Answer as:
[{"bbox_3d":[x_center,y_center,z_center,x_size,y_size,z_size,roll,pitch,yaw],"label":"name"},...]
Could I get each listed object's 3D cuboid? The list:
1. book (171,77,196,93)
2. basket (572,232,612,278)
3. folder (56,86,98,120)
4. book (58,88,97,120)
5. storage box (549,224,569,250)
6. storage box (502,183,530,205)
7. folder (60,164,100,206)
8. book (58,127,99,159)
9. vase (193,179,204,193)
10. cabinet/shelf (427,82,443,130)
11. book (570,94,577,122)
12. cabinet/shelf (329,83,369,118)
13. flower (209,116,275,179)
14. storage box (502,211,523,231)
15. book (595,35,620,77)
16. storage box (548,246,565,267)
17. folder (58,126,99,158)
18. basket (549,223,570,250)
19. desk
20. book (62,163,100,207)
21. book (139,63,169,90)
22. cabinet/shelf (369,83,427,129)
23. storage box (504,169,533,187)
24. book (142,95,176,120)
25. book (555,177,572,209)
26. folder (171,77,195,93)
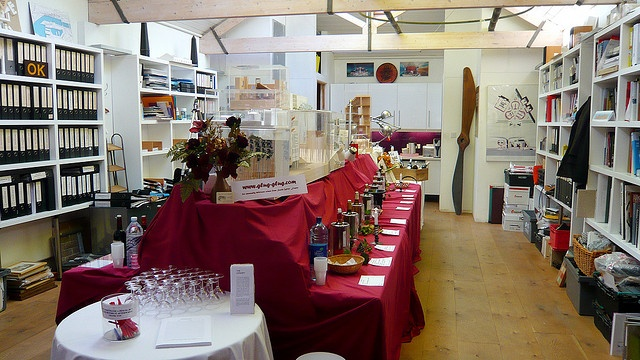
[{"bbox_3d":[-2.629,-1.806,7.690,0.352,0.114,0.342,1,5,21],"label":"book"},{"bbox_3d":[3.524,1.009,5.236,0.320,0.185,0.436,1,9,8],"label":"basket"},{"bbox_3d":[-3.659,-1.155,5.976,0.307,0.496,0.567,2,6,21],"label":"folder"},{"bbox_3d":[-3.655,-1.142,5.984,0.301,0.497,0.562,2,3,19],"label":"book"},{"bbox_3d":[3.760,0.900,6.251,0.277,0.239,0.403,1,4,17],"label":"storage box"},{"bbox_3d":[4.033,0.274,8.186,0.401,0.372,0.411,3,11,26],"label":"storage box"},{"bbox_3d":[-3.672,0.090,6.087,0.346,0.582,0.649,3,4,19],"label":"folder"},{"bbox_3d":[-3.673,-0.565,6.034,0.294,0.461,0.536,0,2,24],"label":"book"},{"bbox_3d":[-1.188,0.049,3.912,0.102,0.160,0.387,-4,8,-16],"label":"vase"},{"bbox_3d":[3.169,-2.035,11.057,0.352,1.255,0.185,-1,9,6],"label":"cabinet/shelf"},{"bbox_3d":[3.985,-1.157,6.279,0.074,0.439,0.483,4,10,31],"label":"book"},{"bbox_3d":[0.805,-2.435,11.689,1.198,0.780,0.241,2,10,25],"label":"cabinet/shelf"},{"bbox_3d":[-0.775,-0.319,4.019,0.651,0.571,0.628,0,7,21],"label":"flower"},{"bbox_3d":[3.898,0.841,8.064,0.390,0.262,0.379,2,8,19],"label":"storage box"},{"bbox_3d":[3.745,-1.615,5.203,0.162,0.476,0.370,-2,10,-8],"label":"book"},{"bbox_3d":[3.736,1.226,6.414,0.259,0.350,0.254,6,13,24],"label":"storage box"},{"bbox_3d":[-3.673,-0.577,6.042,0.301,0.464,0.547,0,2,20],"label":"folder"},{"bbox_3d":[3.808,0.908,6.423,0.279,0.242,0.407,0,-1,15],"label":"basket"},{"bbox_3d":[-1.581,0.712,4.215,1.491,0.788,1.454,0,14,24],"label":"desk"},{"bbox_3d":[-3.668,0.094,6.093,0.374,0.628,0.687,1,3,20],"label":"book"},{"bbox_3d":[-2.908,-1.791,7.107,0.486,0.362,0.248,-6,10,-30],"label":"book"},{"bbox_3d":[2.195,-2.050,10.923,2.034,1.524,0.748,0,3,12],"label":"cabinet/shelf"},{"bbox_3d":[4.026,-0.053,8.083,0.386,0.218,0.369,1,5,10],"label":"storage box"},{"bbox_3d":[-2.972,-1.372,7.295,0.494,0.442,0.108,0,-1,9],"label":"book"},{"bbox_3d":[3.805,0.186,6.225,0.285,0.470,0.527,0,2,15],"label":"book"},{"bbox_3d":[-2.632,-1.810,7.689,0.365,0.118,0.264,1,5,14],"label":"folder"}]
